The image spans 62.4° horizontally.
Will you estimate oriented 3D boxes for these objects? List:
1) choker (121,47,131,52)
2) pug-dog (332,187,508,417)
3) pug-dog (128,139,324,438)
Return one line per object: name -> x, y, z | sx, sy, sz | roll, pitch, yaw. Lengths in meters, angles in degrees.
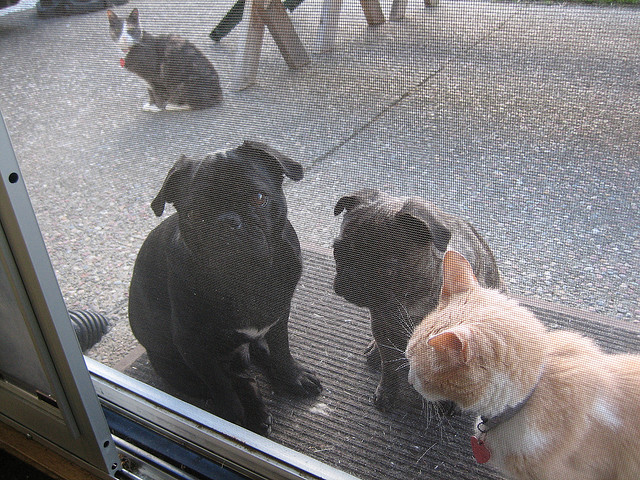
choker -> -0.391, -0.388, 1.074 | 0.014, 0.012, 0.002 | 3, 78, -17
pug-dog -> 0.122, 0.102, 1.022 | 0.345, 0.392, 0.360 | 9, 45, 6
pug-dog -> -0.237, 0.081, 1.317 | 0.403, 0.606, 0.642 | -14, 17, -29
